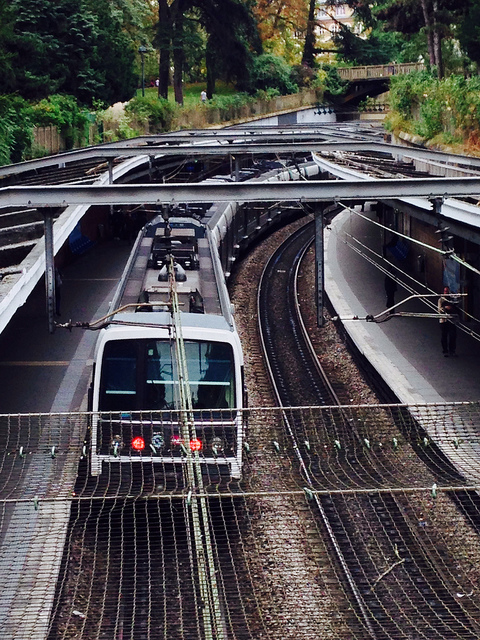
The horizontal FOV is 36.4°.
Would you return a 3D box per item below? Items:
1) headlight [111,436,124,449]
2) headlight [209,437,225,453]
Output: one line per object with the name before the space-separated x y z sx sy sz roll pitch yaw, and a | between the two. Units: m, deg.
headlight | -1.307 1.284 7.777 0.110 0.062 0.159 0 -31 0
headlight | -0.240 1.267 7.455 0.106 0.147 0.146 3 -35 -1
